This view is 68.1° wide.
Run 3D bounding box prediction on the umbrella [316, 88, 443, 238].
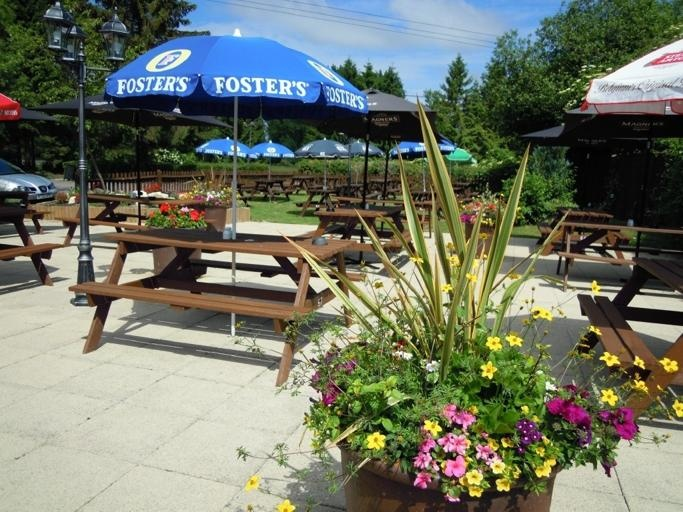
[{"bbox_3d":[0.423,-1.916,9.231,2.107,1.853,1.666,6,-17,6],"label":"umbrella"}]
